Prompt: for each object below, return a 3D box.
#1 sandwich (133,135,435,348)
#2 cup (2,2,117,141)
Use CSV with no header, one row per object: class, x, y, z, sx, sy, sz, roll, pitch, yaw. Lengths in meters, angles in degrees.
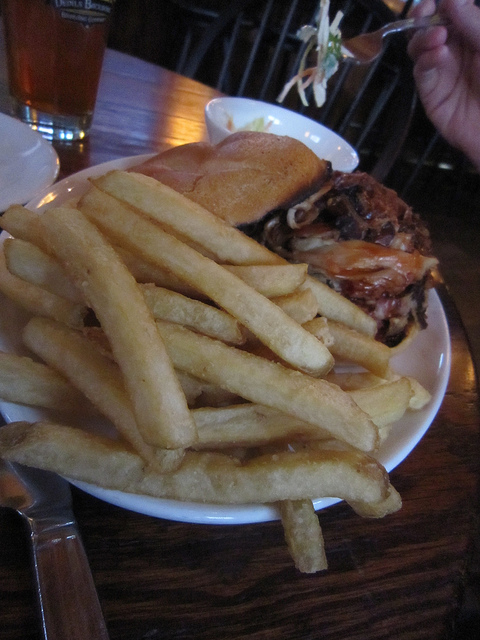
sandwich,0.114,-0.104,1.445,0.663,0.188,0.544,20,28,-7
cup,-0.490,-0.655,1.559,0.279,0.398,0.192,11,33,-22
